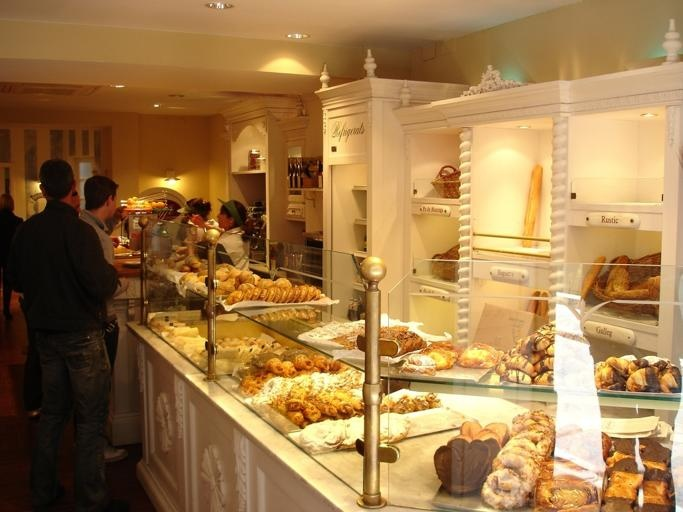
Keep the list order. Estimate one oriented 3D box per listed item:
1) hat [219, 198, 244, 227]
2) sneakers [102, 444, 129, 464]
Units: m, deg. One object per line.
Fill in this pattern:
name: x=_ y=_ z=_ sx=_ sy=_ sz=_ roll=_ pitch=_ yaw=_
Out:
hat: x=-1.149 y=-0.434 z=5.390 sx=0.330 sy=0.269 sz=0.240 roll=11 pitch=10 yaw=-18
sneakers: x=-1.673 y=1.455 z=3.850 sx=0.217 sy=0.130 sz=0.080 roll=-4 pitch=14 yaw=-31
